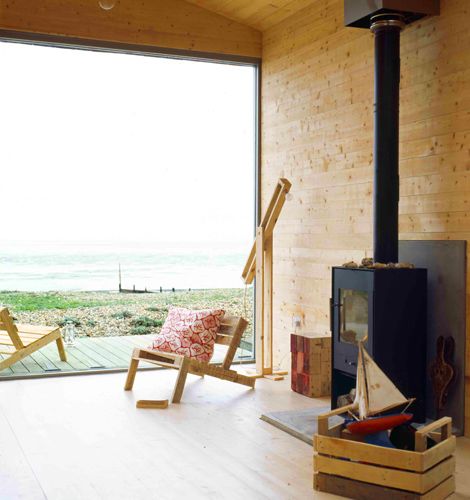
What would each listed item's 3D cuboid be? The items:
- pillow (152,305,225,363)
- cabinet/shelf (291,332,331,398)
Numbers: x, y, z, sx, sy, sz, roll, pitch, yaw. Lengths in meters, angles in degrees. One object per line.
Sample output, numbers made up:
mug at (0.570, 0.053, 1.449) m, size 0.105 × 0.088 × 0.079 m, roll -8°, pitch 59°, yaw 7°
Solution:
pillow at (-0.363, 0.649, 3.426) m, size 0.453 × 0.386 × 0.293 m, roll -2°, pitch -6°, yaw 23°
cabinet/shelf at (0.601, 0.909, 3.516) m, size 0.298 × 0.463 × 0.173 m, roll -1°, pitch -6°, yaw 8°
